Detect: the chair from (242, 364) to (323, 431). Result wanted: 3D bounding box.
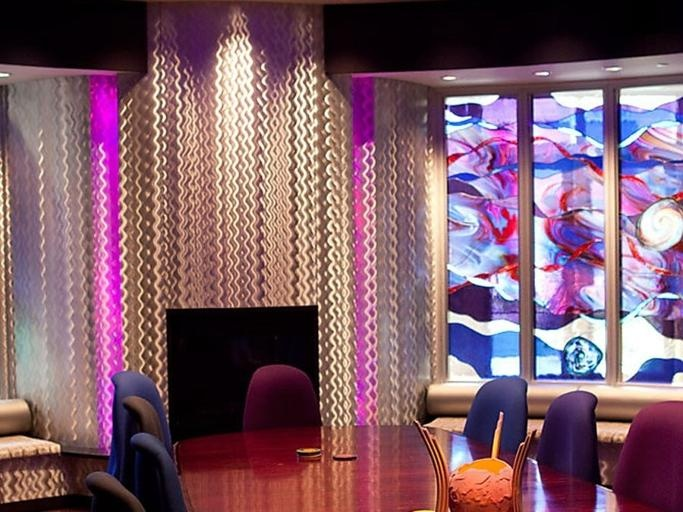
[{"bbox_3d":[-0.431,0.940,4.678,0.436,0.633,0.441,1,-7,-17],"label":"chair"}]
